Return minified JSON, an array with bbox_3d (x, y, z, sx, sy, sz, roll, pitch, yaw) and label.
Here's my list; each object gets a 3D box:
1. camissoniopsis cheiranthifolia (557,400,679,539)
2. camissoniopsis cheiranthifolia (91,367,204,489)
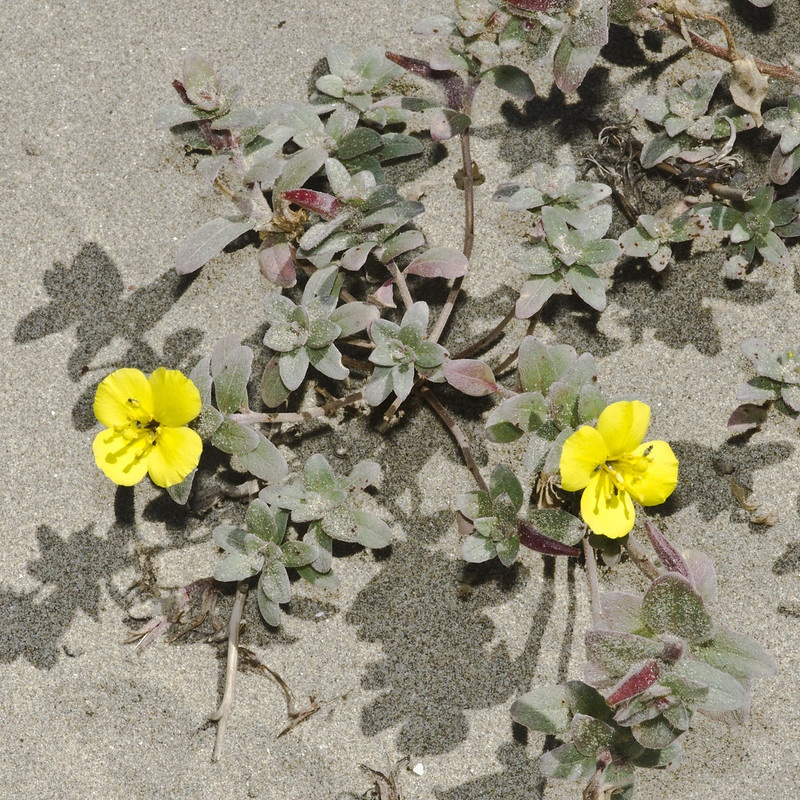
[{"bbox_3d":[0.663,0.202,3.820,0.185,0.417,0.369,12,112,34],"label":"camissoniopsis cheiranthifolia"},{"bbox_3d":[-0.811,0.117,4.158,0.357,0.573,0.355,4,80,2],"label":"camissoniopsis cheiranthifolia"}]
